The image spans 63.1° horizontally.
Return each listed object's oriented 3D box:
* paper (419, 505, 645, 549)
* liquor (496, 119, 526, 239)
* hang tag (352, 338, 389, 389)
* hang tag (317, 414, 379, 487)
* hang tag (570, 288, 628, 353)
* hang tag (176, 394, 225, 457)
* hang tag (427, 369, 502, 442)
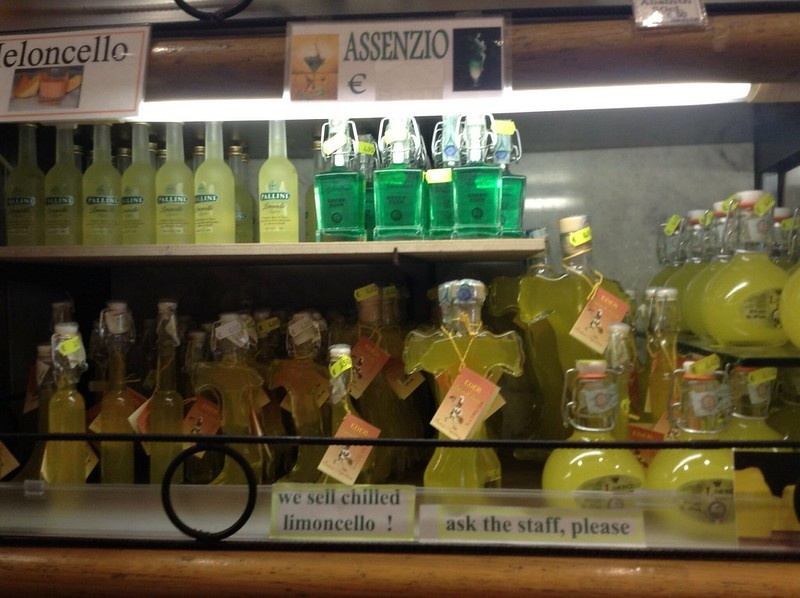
[{"bbox_3d":[0.220,0.378,1.128,0.396,0.095,0.015,-4,-11,13],"label":"paper"},{"bbox_3d":[0.240,-0.272,1.502,0.086,0.257,0.084,-3,4,0],"label":"liquor"},{"bbox_3d":[-0.069,0.143,1.478,0.081,0.108,0.028,29,-6,2],"label":"hang tag"},{"bbox_3d":[-0.113,0.298,1.289,0.092,0.138,0.026,23,-45,-3],"label":"hang tag"},{"bbox_3d":[0.411,0.049,1.357,0.100,0.133,0.032,33,2,20],"label":"hang tag"},{"bbox_3d":[-0.442,0.269,1.456,0.103,0.144,0.038,23,-1,5],"label":"hang tag"},{"bbox_3d":[0.118,0.216,1.258,0.105,0.141,0.037,28,-13,21],"label":"hang tag"}]
